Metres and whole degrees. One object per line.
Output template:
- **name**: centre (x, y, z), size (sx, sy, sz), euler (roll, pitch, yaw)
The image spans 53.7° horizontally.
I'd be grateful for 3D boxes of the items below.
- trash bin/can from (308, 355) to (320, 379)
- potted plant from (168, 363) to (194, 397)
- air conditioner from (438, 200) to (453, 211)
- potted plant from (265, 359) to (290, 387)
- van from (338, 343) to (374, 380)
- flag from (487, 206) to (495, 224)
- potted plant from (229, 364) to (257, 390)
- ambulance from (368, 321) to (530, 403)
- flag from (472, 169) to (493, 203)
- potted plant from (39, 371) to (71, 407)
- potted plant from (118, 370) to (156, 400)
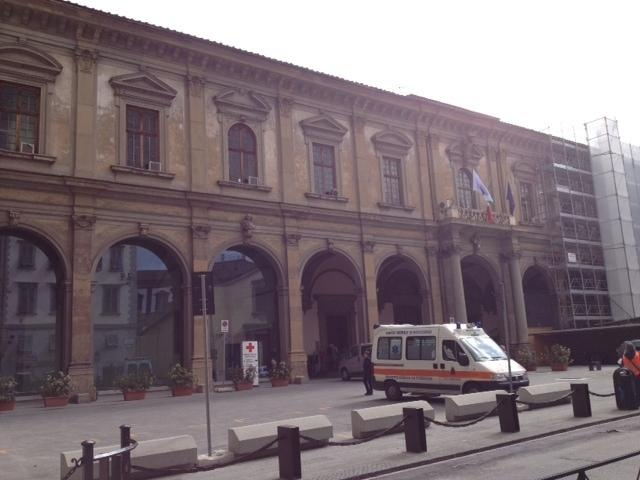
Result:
- **trash bin/can**: centre (-0.396, 7.802, 39.991), size (0.843, 1.320, 0.673), euler (0, -13, -17)
- **potted plant**: centre (-6.504, 6.408, 29.000), size (1.403, 1.759, 1.157), euler (7, -23, -29)
- **air conditioner**: centre (7.819, -2.201, 39.437), size (0.420, 0.642, 1.437), euler (-7, 3, 21)
- **potted plant**: centre (-2.135, 6.705, 31.777), size (1.042, 1.342, 1.285), euler (-6, -13, 12)
- **van**: centre (1.947, 6.625, 34.685), size (1.744, 1.643, 2.752), euler (5, -9, -39)
- **flag**: centre (10.869, -1.551, 40.425), size (0.486, 1.156, 1.532), euler (-7, -13, 15)
- **potted plant**: centre (-3.747, 6.771, 30.932), size (0.626, 1.136, 1.201), euler (-12, -15, 34)
- **ambulance**: centre (4.920, 4.666, 24.519), size (2.905, 2.977, 5.450), euler (8, -17, -44)
- **flag**: centre (10.602, -3.513, 41.553), size (0.161, 2.073, 1.834), euler (-33, -57, 28)
- **potted plant**: centre (-10.859, 6.209, 26.299), size (1.193, 1.272, 0.933), euler (0, 11, -14)
- **potted plant**: centre (-8.290, 6.411, 28.433), size (1.405, 1.240, 1.163), euler (7, -14, -35)
